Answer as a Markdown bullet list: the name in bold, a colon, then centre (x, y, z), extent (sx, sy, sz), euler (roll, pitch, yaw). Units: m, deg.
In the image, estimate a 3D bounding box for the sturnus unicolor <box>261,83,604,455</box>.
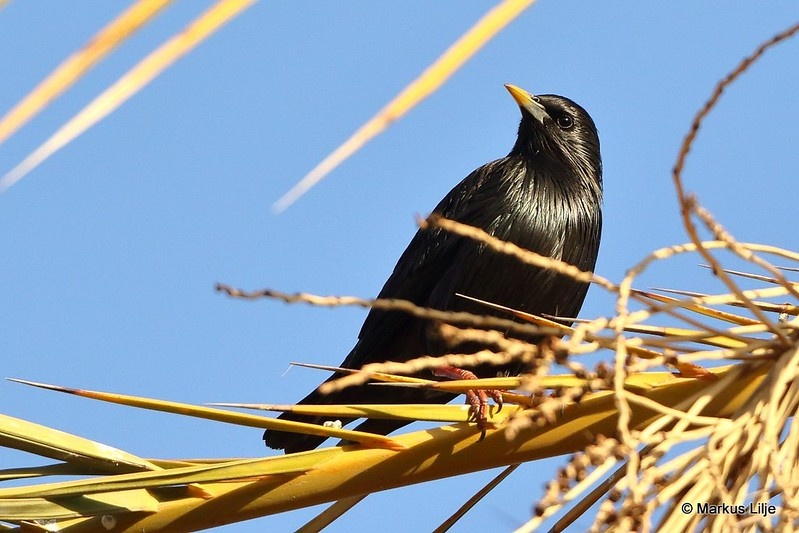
- **sturnus unicolor**: centre (0.231, 0.160, 4.147), extent (1.168, 1.112, 0.666), euler (-22, -57, 19)
